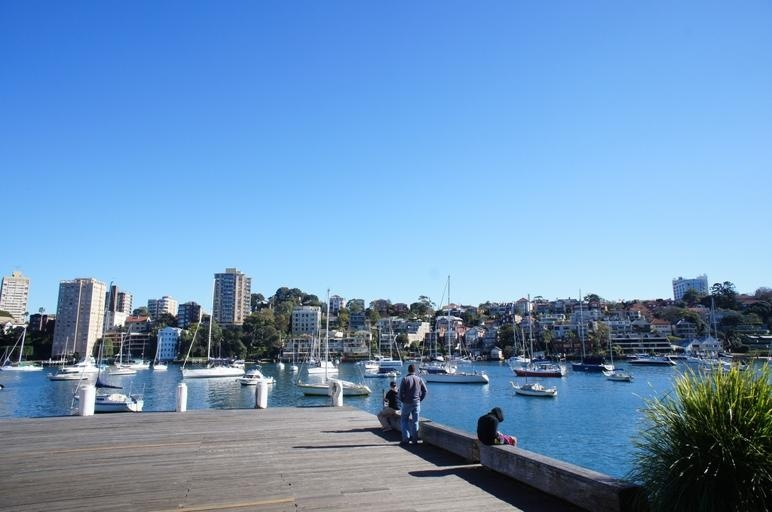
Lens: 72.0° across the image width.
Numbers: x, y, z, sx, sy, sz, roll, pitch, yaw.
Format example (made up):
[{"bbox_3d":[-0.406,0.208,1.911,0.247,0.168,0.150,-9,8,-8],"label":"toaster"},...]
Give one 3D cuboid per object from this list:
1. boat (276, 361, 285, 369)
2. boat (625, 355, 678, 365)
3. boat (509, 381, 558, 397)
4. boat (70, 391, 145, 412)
[{"bbox_3d":[-26.636,27.635,133.962,1.672,1.865,2.946,8,-15,-30],"label":"boat"},{"bbox_3d":[58.312,23.358,117.895,5.532,1.978,7.946,5,-11,-25],"label":"boat"},{"bbox_3d":[17.070,15.383,60.883,2.325,1.505,4.292,10,-14,-41],"label":"boat"},{"bbox_3d":[-20.557,11.239,40.551,2.850,1.229,4.292,5,-12,-26],"label":"boat"}]
